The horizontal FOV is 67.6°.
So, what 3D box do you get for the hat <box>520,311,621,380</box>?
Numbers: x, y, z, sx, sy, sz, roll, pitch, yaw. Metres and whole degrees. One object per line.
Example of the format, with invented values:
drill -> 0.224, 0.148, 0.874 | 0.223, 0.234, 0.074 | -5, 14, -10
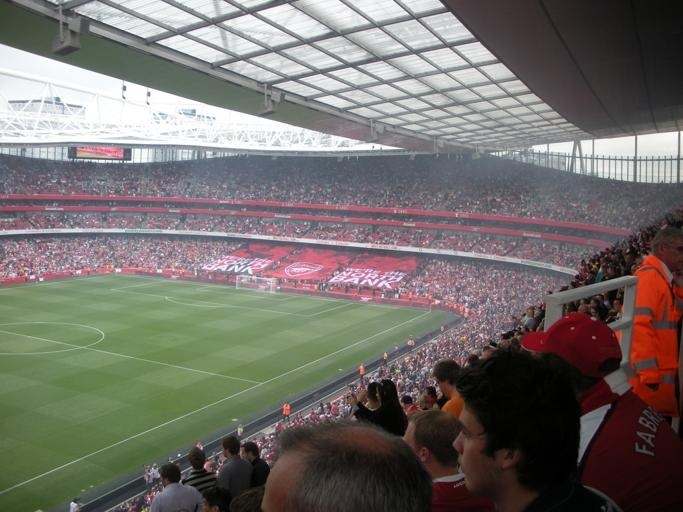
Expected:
hat -> 1.276, 0.440, 2.831 | 0.455, 0.239, 0.308 | 28, 19, 27
